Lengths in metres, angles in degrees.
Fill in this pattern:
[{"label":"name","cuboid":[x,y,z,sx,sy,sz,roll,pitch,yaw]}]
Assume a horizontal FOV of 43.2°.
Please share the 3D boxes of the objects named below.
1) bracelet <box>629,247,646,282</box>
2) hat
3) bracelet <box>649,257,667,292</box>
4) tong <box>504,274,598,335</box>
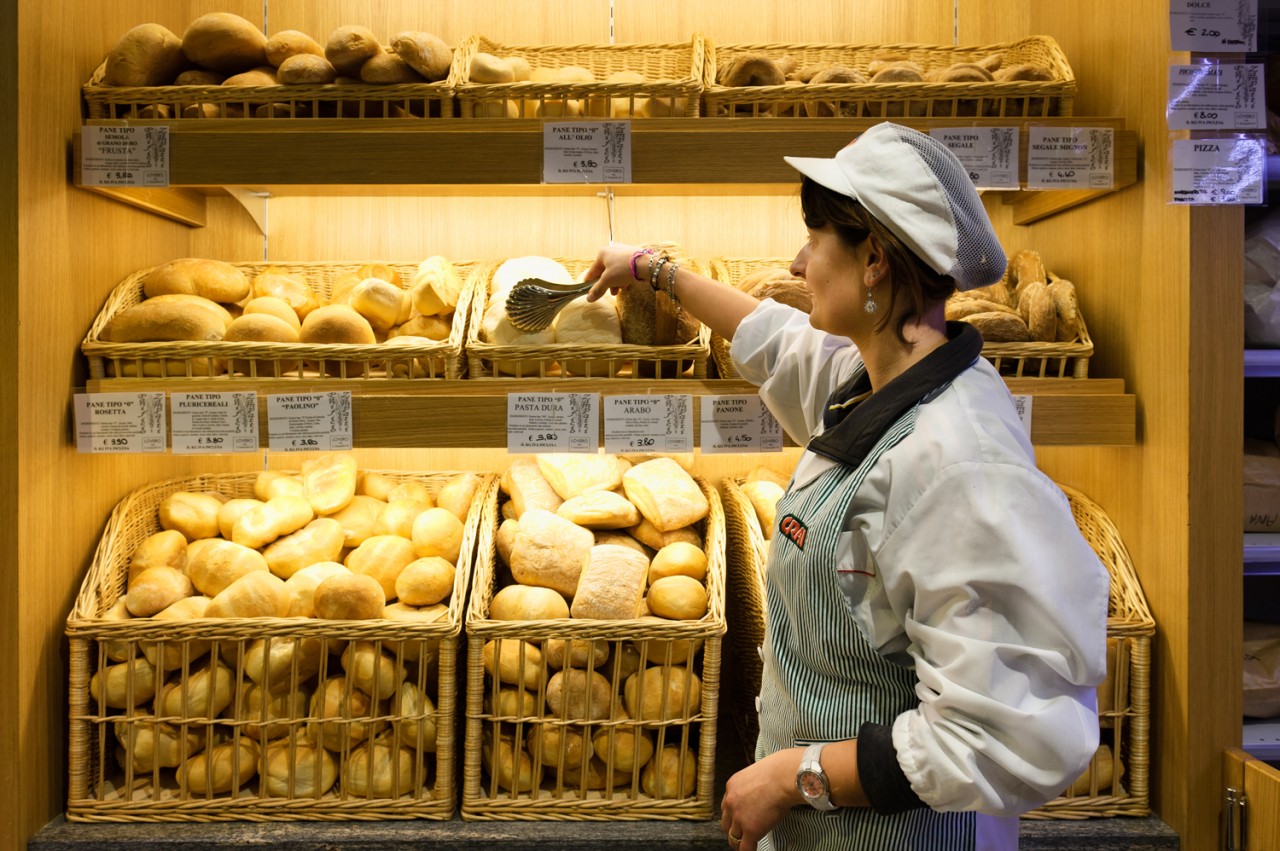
[{"label":"bracelet","cuboid":[-0.008,-0.397,4.008,0.023,0.062,0.046,2,-32,7]},{"label":"hat","cuboid":[0.596,-0.473,3.516,0.499,0.203,0.341,26,22,31]},{"label":"bracelet","cuboid":[0.045,-0.369,3.984,0.052,0.066,0.067,-2,7,2]},{"label":"tong","cuboid":[-0.221,-0.301,4.016,0.216,0.113,0.051,-20,22,-26]}]
